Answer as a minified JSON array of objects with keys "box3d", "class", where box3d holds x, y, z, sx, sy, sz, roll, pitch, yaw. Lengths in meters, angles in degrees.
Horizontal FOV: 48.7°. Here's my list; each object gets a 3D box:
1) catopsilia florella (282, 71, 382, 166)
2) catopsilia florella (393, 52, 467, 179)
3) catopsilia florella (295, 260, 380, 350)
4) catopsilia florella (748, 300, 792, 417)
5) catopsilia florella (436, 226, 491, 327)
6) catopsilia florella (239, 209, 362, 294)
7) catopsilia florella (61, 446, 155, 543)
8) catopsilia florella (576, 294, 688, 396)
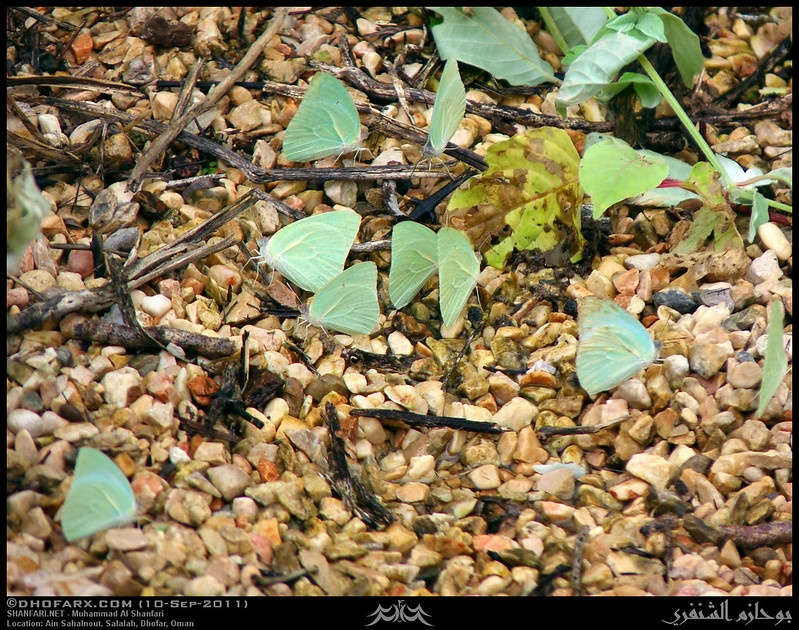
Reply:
[{"box3d":[-0.275,-0.667,3.191,0.399,0.372,0.148,-2,79,-4],"class":"catopsilia florella"},{"box3d":[0.142,-0.682,2.998,0.351,0.253,0.336,5,54,5],"class":"catopsilia florella"},{"box3d":[-0.187,-0.024,2.955,0.239,0.240,0.166,-26,44,4],"class":"catopsilia florella"},{"box3d":[1.101,0.170,2.600,0.064,0.045,0.324,13,35,26],"class":"catopsilia florella"},{"box3d":[0.197,-0.128,2.950,0.138,0.250,0.251,3,65,2],"class":"catopsilia florella"},{"box3d":[-0.325,-0.234,3.011,0.304,0.198,0.299,0,38,15],"class":"catopsilia florella"},{"box3d":[-0.821,0.493,2.397,0.253,0.107,0.243,22,25,12],"class":"catopsilia florella"},{"box3d":[0.716,0.094,2.716,0.285,0.257,0.109,10,78,-6],"class":"catopsilia florella"}]
